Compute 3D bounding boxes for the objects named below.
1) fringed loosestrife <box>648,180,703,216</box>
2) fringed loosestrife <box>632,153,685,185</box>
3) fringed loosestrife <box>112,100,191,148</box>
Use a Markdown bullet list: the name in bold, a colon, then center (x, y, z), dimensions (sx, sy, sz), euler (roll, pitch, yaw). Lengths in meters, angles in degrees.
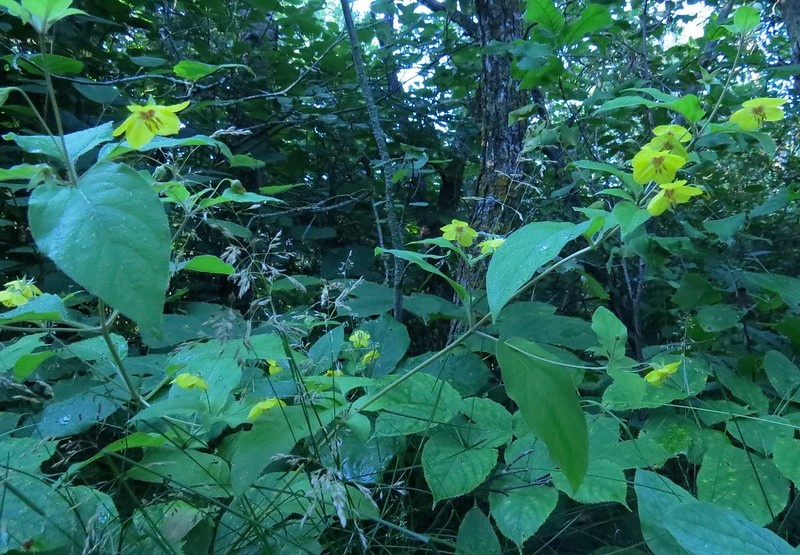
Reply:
- **fringed loosestrife**: center (0.996, -0.287, 2.143), dimensions (0.135, 0.112, 0.179), euler (18, 10, 36)
- **fringed loosestrife**: center (0.926, -0.404, 2.145), dimensions (0.150, 0.103, 0.111), euler (8, 9, -25)
- **fringed loosestrife**: center (-0.882, -0.542, 2.071), dimensions (0.207, 0.193, 0.181), euler (10, 9, -21)
